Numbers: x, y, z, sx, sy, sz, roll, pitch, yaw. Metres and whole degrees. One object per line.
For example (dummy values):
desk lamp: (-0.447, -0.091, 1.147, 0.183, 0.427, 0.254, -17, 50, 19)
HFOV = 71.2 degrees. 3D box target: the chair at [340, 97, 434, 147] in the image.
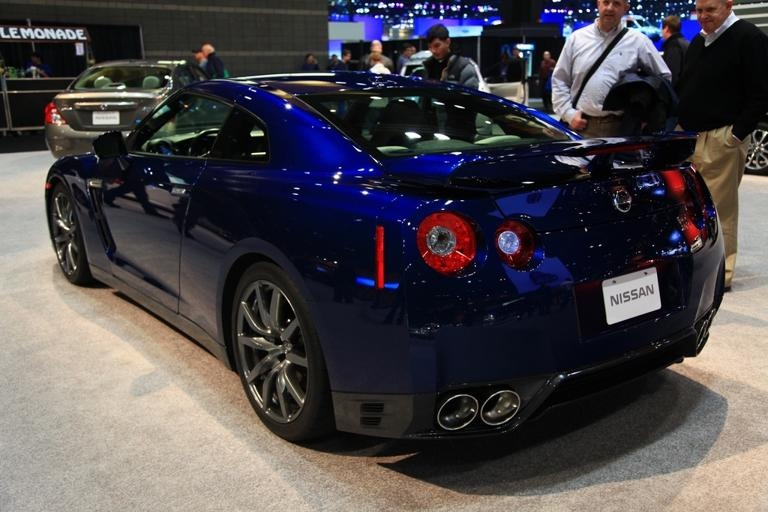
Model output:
chair: (-0.002, -0.761, 3.024, 0.508, 0.302, 0.142, 3, -2, -34)

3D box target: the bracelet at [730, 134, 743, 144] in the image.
bracelet: (2.965, -0.982, 4.484, 0.108, 0.082, 0.085, 5, 22, 12)

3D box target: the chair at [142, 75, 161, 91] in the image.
chair: (-3.949, -2.939, 9.104, 0.286, 0.271, 0.164, 17, 11, 14)

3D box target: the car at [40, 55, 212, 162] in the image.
car: (-4.624, -2.939, 10.692, 1.877, 1.371, 4.274, 0, 17, 0)

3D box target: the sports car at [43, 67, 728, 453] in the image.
sports car: (-0.392, -0.063, 3.297, 2.016, 1.147, 3.599, -12, 22, -40)
